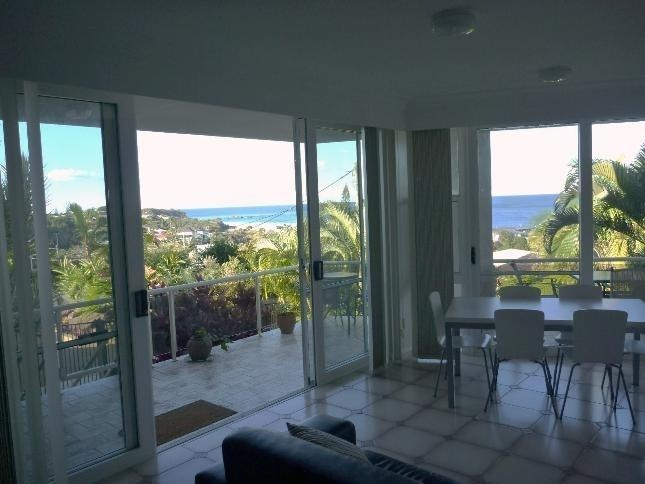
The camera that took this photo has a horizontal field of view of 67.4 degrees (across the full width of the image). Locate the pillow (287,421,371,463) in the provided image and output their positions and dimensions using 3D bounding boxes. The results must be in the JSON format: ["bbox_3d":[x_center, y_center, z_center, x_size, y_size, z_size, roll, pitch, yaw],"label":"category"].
[{"bbox_3d":[0.056,1.022,2.435,0.265,0.079,0.268,15,-20,42],"label":"pillow"}]

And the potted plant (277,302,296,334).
[{"bbox_3d":[-0.523,1.170,7.220,0.356,0.390,0.340,-1,-4,0],"label":"potted plant"}]
